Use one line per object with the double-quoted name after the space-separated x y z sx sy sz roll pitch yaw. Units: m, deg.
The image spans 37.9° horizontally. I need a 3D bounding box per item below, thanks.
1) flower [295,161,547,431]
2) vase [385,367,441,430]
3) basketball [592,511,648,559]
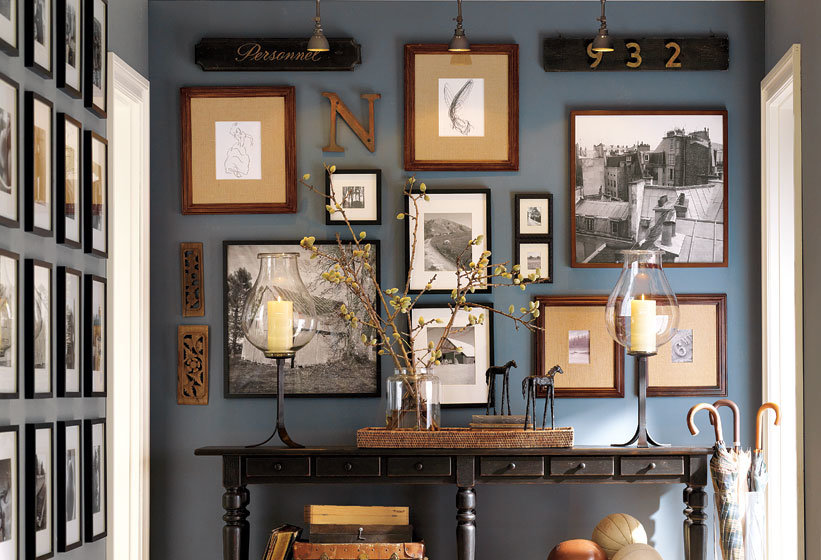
0.037 0.034 6.228 1.197 1.375 0.479 -1 -3 -3 "flower"
0.010 0.642 6.149 0.282 0.337 0.289 -12 -18 38 "vase"
1.055 1.278 6.049 0.205 0.228 0.257 -15 37 -14 "basketball"
